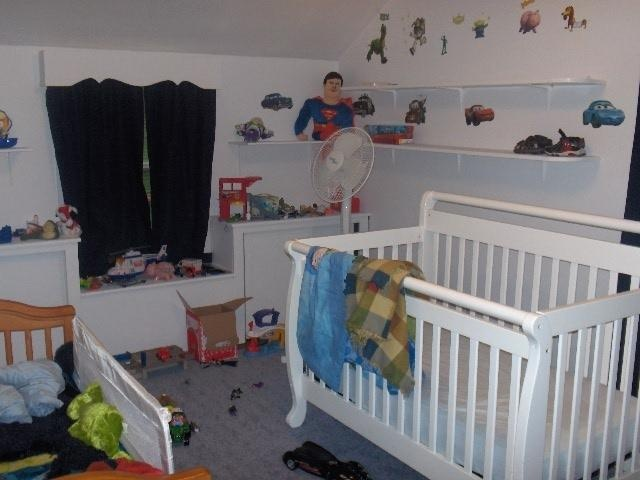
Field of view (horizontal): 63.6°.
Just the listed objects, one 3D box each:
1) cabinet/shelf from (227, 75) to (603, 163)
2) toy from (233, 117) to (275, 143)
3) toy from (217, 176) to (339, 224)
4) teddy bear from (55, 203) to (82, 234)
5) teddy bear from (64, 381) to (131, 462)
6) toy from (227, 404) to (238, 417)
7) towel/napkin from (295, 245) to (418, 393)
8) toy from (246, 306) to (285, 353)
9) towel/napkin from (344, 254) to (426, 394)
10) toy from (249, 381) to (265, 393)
[{"bbox_3d":[0.994,-0.897,3.744,0.138,0.441,1.979,-10,18,-36],"label":"cabinet/shelf"},{"bbox_3d":[-0.563,-0.943,4.417,0.229,0.127,0.264,2,21,-7],"label":"toy"},{"bbox_3d":[-0.346,-0.381,4.523,1.101,0.480,0.385,-2,8,-15],"label":"toy"},{"bbox_3d":[-1.778,-0.128,3.648,0.146,0.230,0.143,-3,-1,3],"label":"teddy bear"},{"bbox_3d":[-0.973,0.797,2.285,0.336,0.223,0.115,39,-7,9],"label":"teddy bear"},{"bbox_3d":[-0.554,1.075,3.297,0.060,0.028,0.130,-3,15,-12],"label":"toy"},{"bbox_3d":[0.166,0.399,2.534,0.720,0.690,0.239,16,16,42],"label":"towel/napkin"},{"bbox_3d":[-0.423,0.733,4.256,0.393,0.396,0.211,-1,5,-24],"label":"toy"},{"bbox_3d":[0.296,0.362,2.363,0.180,0.535,0.398,-10,17,-39],"label":"towel/napkin"},{"bbox_3d":[-0.424,1.022,3.587,0.135,0.080,0.034,-1,-1,26],"label":"toy"}]
